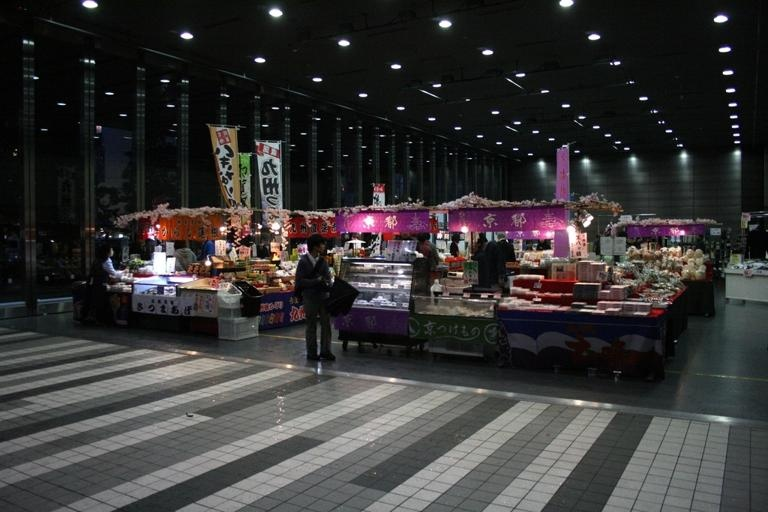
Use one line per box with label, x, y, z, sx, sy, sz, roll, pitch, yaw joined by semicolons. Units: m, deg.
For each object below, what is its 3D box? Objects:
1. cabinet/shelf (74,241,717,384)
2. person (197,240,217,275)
cabinet/shelf;2.402;0.684;9.114;5.100;1.514;3.906;3;9;26
person;-3.864;0.067;11.409;0.349;1.127;0.426;-1;39;-27
